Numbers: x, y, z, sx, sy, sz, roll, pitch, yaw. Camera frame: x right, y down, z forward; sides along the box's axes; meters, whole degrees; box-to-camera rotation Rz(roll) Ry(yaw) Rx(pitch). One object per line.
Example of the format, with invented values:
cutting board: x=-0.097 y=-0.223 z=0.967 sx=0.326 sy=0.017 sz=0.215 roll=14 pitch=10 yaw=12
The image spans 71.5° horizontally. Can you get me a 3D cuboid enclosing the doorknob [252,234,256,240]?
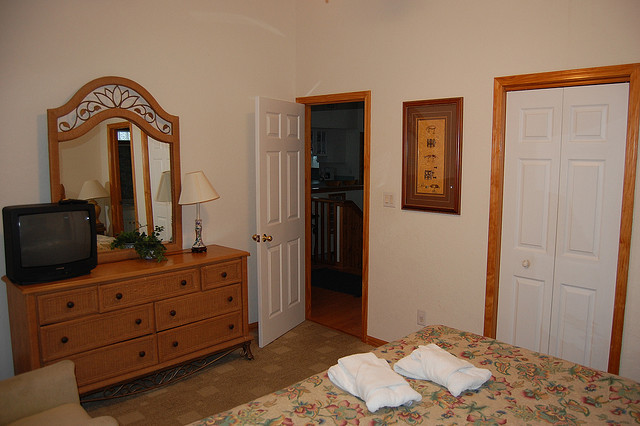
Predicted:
doorknob: x=-0.740 y=0.270 z=5.037 sx=0.045 sy=0.043 sz=0.039 roll=-4 pitch=9 yaw=-29

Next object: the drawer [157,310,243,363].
drawer: x=-1.245 y=1.249 z=4.567 sx=0.347 sy=0.382 sz=0.770 roll=11 pitch=12 yaw=43

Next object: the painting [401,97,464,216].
painting: x=1.180 y=-0.612 z=4.706 sx=0.653 sy=1.165 sz=0.236 roll=5 pitch=13 yaw=25

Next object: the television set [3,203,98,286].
television set: x=-2.364 y=0.261 z=3.868 sx=0.907 sy=0.657 sz=0.297 roll=-2 pitch=18 yaw=-39

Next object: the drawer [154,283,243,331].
drawer: x=-1.247 y=0.948 z=4.541 sx=0.850 sy=0.334 sz=0.347 roll=-5 pitch=13 yaw=-44

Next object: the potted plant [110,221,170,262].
potted plant: x=-1.768 y=0.274 z=4.566 sx=0.392 sy=0.272 sz=0.401 roll=13 pitch=17 yaw=16

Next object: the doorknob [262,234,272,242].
doorknob: x=-0.601 y=0.275 z=5.068 sx=0.055 sy=0.058 sz=0.101 roll=16 pitch=7 yaw=44
